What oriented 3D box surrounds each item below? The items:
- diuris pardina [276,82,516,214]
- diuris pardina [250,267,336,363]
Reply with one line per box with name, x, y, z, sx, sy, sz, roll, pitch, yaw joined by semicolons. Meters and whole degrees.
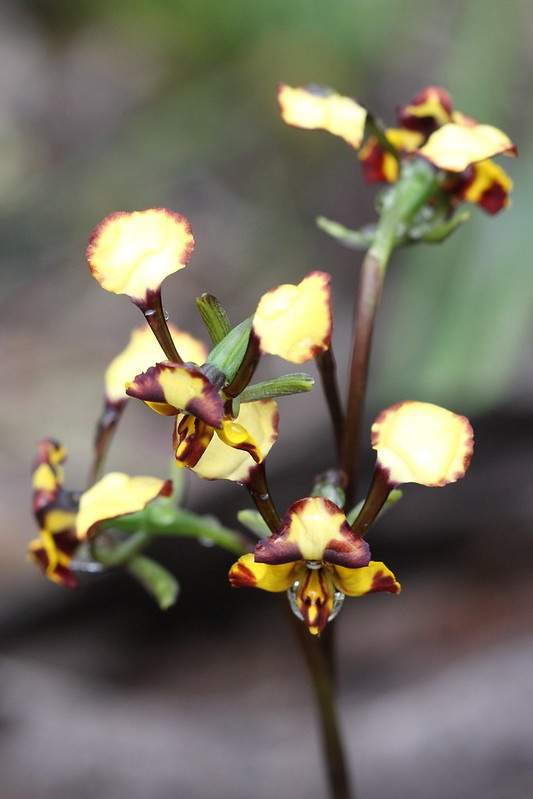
diuris pardina;0.092;-0.174;0.562;0.117;0.033;0.140;24;24;39
diuris pardina;0.016;-0.046;0.451;0.044;0.041;0.041;-9;52;-14
